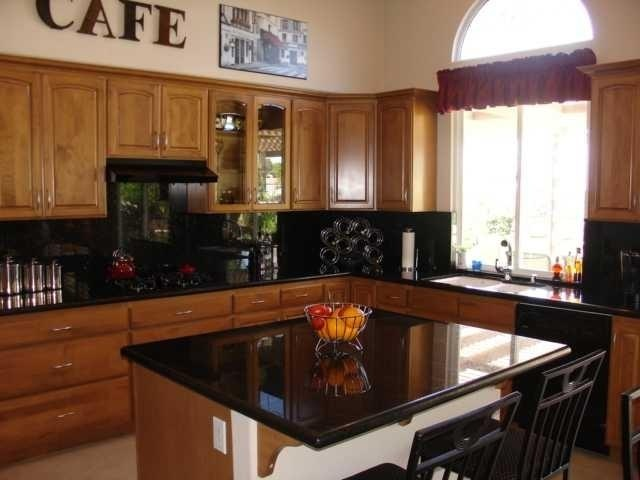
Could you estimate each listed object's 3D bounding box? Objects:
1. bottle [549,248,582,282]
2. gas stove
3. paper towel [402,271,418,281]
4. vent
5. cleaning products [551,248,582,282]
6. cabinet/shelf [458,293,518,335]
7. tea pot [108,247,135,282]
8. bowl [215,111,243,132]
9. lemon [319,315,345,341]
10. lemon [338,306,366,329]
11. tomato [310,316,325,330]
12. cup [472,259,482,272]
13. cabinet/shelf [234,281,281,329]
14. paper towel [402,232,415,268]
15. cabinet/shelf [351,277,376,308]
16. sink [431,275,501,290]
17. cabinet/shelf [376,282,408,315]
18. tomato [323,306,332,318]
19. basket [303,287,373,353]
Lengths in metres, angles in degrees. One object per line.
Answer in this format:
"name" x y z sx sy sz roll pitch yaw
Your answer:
"bottle" 2.058 0.206 4.378 0.258 0.277 0.243 1 0 12
"gas stove" -1.318 0.316 4.344 0.859 0.095 0.705 -4 8 -32
"paper towel" 0.820 0.327 4.857 0.089 0.067 0.090 -2 6 -12
"vent" -1.284 -0.564 4.295 0.848 0.195 0.297 -4 8 -30
"cleaning products" 2.042 0.206 4.375 0.214 0.290 0.400 4 8 24
"cabinet/shelf" 1.308 0.564 4.174 0.281 0.171 0.274 -2 5 -45
"tea pot" -1.631 0.199 4.349 0.163 0.146 0.290 -2 12 -29
"bowl" -0.816 -1.047 4.667 0.189 0.091 0.231 -1 6 -16
"lemon" 0.065 0.436 2.610 0.101 0.080 0.122 0 7 -10
"lemon" 0.162 0.382 2.631 0.098 0.113 0.112 -3 -4 7
"tomato" -0.011 0.409 2.610 0.063 0.069 0.062 -10 13 -38
"cup" 1.484 0.243 5.007 0.085 0.108 0.061 9 15 32
"cabinet/shelf" -0.537 0.553 4.462 0.483 0.317 0.276 -3 2 -39
"paper towel" 0.862 0.095 5.167 0.110 0.364 0.119 1 7 3
"cabinet/shelf" 0.405 0.468 4.787 0.134 0.241 0.248 -7 10 -41
"sink" 1.367 0.378 4.774 0.236 0.114 0.293 -5 6 -39
"cabinet/shelf" 0.645 0.514 4.768 0.217 0.261 0.358 -1 4 -40
"tomato" 0.037 0.366 2.675 0.040 0.047 0.040 0 4 7
"basket" 0.074 0.403 2.691 0.268 0.176 0.258 2 0 -31
